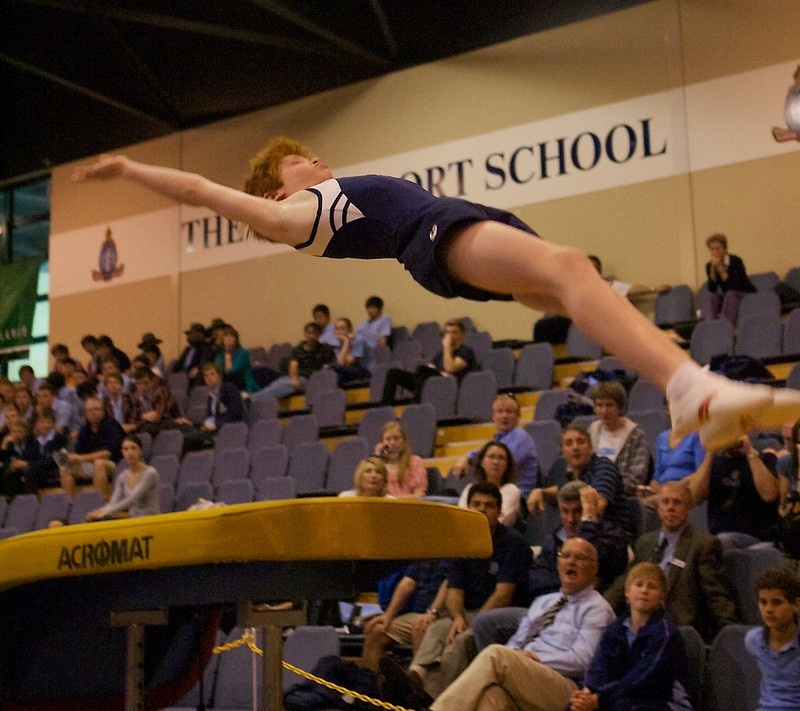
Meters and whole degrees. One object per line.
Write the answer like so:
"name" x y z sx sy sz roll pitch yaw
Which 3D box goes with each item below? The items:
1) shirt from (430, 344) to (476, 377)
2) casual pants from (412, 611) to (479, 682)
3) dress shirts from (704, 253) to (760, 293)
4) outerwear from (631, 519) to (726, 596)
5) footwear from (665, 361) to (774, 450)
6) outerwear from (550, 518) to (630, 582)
"shirt" 0.518 0.060 11.441 0.422 0.334 0.667 -1 -5 1
"casual pants" 0.224 1.630 6.715 0.216 0.120 0.387 -1 36 23
"dress shirts" 3.155 -0.697 11.270 0.403 0.451 0.310 0 -20 -26
"outerwear" 1.492 1.091 6.392 0.316 0.124 0.299 -10 46 30
"footwear" 1.044 0.174 3.970 0.208 0.151 0.352 -35 49 -26
"outerwear" 1.090 1.098 6.594 0.287 0.143 0.382 30 48 33
